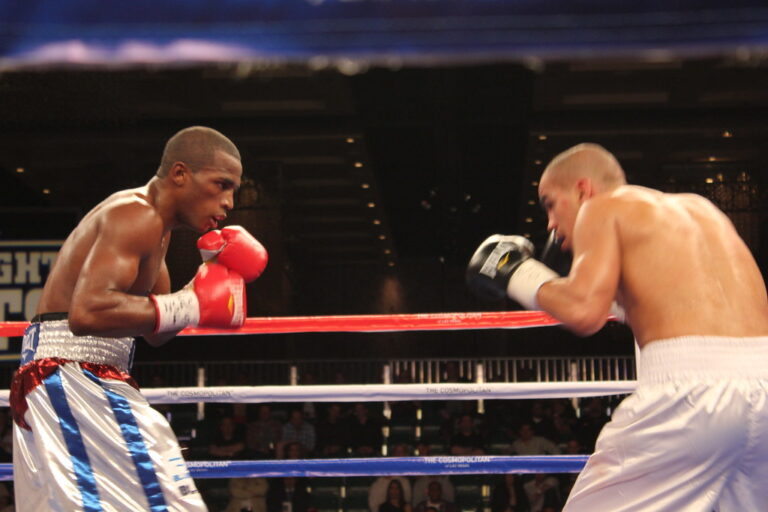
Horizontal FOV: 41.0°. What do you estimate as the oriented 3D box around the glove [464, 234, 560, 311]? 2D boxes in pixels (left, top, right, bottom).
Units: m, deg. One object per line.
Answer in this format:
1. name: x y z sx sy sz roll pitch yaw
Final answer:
1. glove: 0.673 0.072 5.684 0.495 0.367 0.217 25 -29 46
